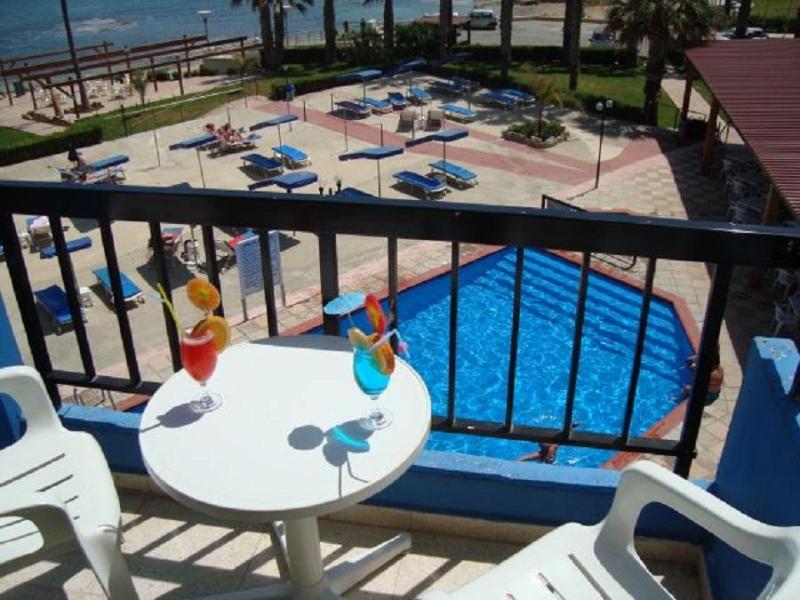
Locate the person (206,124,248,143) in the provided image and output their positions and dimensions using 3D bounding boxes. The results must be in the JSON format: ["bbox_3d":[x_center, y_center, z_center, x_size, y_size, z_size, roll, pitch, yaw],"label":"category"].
[{"bbox_3d":[-6.070,-5.716,21.379,1.108,0.446,1.352,-12,30,-28],"label":"person"}]

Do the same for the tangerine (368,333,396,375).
[{"bbox_3d":[-0.062,0.176,2.173,0.079,0.145,0.161,-3,28,-3],"label":"tangerine"}]

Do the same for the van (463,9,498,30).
[{"bbox_3d":[6.001,-20.257,45.783,2.445,1.213,1.374,-6,28,-10],"label":"van"}]
